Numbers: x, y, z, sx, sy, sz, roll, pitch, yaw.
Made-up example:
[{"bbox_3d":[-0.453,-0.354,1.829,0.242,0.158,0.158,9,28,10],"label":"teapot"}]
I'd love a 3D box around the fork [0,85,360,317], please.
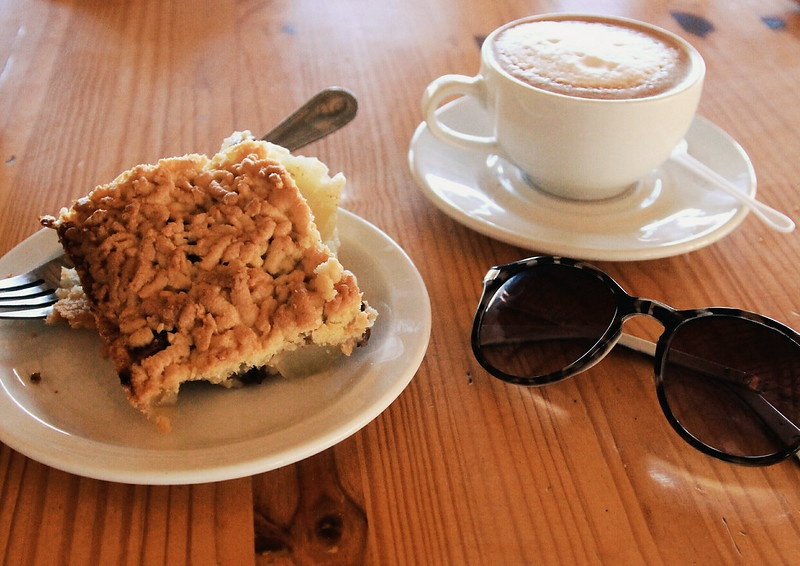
[{"bbox_3d":[-0.301,-0.107,0.997,0.548,0.077,0.078,-37,0,-9],"label":"fork"}]

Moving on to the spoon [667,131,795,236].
[{"bbox_3d":[0.454,-0.162,1.068,0.072,0.013,0.305,-34,37,-4],"label":"spoon"}]

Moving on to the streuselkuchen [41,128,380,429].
[{"bbox_3d":[-0.228,-0.042,0.973,0.335,0.092,0.353,-43,12,25],"label":"streuselkuchen"}]
